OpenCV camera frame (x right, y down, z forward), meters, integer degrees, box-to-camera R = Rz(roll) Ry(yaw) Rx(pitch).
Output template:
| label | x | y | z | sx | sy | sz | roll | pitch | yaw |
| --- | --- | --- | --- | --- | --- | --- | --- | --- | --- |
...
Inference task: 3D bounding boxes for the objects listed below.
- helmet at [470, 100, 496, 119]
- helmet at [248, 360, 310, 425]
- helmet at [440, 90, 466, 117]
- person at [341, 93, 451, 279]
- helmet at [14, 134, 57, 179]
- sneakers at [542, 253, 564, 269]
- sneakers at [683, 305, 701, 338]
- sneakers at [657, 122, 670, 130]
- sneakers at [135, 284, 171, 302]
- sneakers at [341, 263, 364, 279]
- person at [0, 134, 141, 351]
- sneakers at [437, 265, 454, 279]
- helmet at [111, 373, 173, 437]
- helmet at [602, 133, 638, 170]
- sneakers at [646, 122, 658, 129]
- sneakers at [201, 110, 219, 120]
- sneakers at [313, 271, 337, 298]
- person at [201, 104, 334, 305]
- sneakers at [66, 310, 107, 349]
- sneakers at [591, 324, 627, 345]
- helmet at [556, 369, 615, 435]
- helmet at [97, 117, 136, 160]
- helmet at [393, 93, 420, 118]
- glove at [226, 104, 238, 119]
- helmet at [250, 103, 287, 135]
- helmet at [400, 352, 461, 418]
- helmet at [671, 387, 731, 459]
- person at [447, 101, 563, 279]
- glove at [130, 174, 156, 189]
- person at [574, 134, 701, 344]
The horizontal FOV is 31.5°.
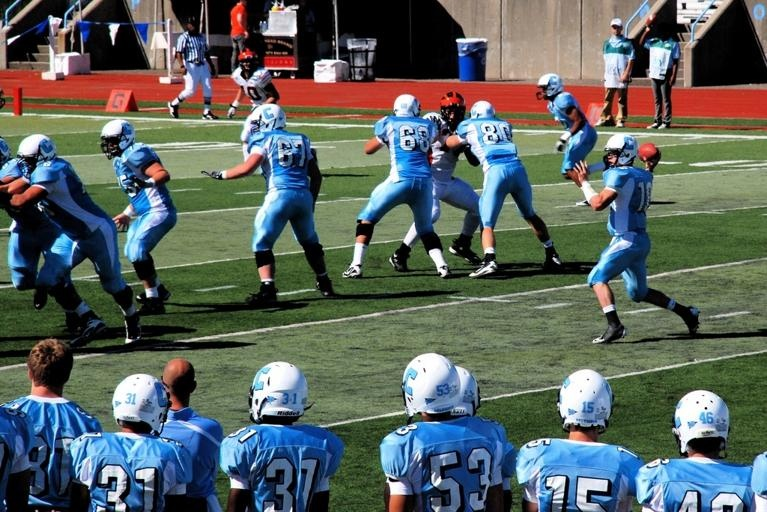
| label | x | y | z | sx | sy | sz | roll | pitch | yaw |
| --- | --- | --- | --- | --- | --- | --- | --- | --- | --- |
| helmet | 1.120 | -1.602 | 15.270 | 0.257 | 0.243 | 0.305 | 2 | 35 | 0 |
| helmet | -0.627 | 0.819 | 8.242 | 0.325 | 0.316 | 0.390 | 1 | 3 | -22 |
| helmet | 0.777 | -1.715 | 15.328 | 0.281 | 0.224 | 0.221 | -10 | 13 | 24 |
| person | 0.147 | -0.752 | 14.699 | 1.146 | 1.876 | 1.009 | 0 | 14 | 1 |
| helmet | -3.072 | -0.923 | 12.196 | 0.397 | 0.354 | 0.300 | -7 | 7 | -24 |
| sneakers | 1.853 | 0.049 | 14.834 | 0.106 | 0.109 | 0.270 | -2 | 2 | -8 |
| sneakers | 2.790 | 0.562 | 12.356 | 0.153 | 0.313 | 0.111 | -20 | 22 | 2 |
| sneakers | 5.490 | -2.525 | 26.499 | 0.093 | 0.104 | 0.285 | -1 | 0 | 36 |
| sneakers | -2.262 | 0.383 | 13.282 | 0.426 | 0.141 | 0.196 | -7 | 6 | 5 |
| sneakers | -0.336 | 0.144 | 14.545 | 0.212 | 0.171 | 0.268 | 0 | 13 | -1 |
| person | -2.752 | -0.145 | 12.142 | 1.133 | 1.815 | 0.759 | 0 | 14 | 0 |
| sneakers | 0.659 | 0.170 | 14.627 | 0.156 | 0.091 | 0.229 | 2 | 0 | 1 |
| helmet | -1.407 | 0.849 | 8.081 | 0.303 | 0.313 | 0.357 | 4 | 24 | -1 |
| helmet | 2.200 | -0.968 | 12.404 | 0.346 | 0.311 | 0.252 | 0 | 2 | -2 |
| sneakers | 5.223 | -2.551 | 26.502 | 0.295 | 0.107 | 0.105 | 1 | 5 | 7 |
| sneakers | -3.755 | -3.043 | 29.418 | 0.378 | 0.199 | 0.185 | -1 | 17 | 2 |
| sneakers | -0.539 | 0.266 | 13.803 | 0.344 | 0.223 | 0.120 | 2 | 20 | 19 |
| person | -1.039 | -0.540 | 13.652 | 0.981 | 1.878 | 0.946 | -4 | 14 | -15 |
| sneakers | -2.637 | 0.648 | 12.115 | 0.297 | 0.165 | 0.446 | -20 | -2 | 3 |
| sneakers | 2.039 | 0.677 | 12.236 | 0.293 | 0.186 | 0.264 | 2 | 14 | 8 |
| helmet | 1.208 | 0.890 | 8.108 | 0.302 | 0.307 | 0.358 | 3 | 52 | 7 |
| helmet | -2.552 | -1.130 | 12.975 | 0.446 | 0.391 | 0.345 | -12 | 10 | -18 |
| helmet | 0.243 | -1.626 | 14.852 | 0.259 | 0.245 | 0.328 | 4 | 19 | 11 |
| glove | -3.242 | -3.069 | 28.846 | 0.252 | 0.113 | 0.432 | 6 | -14 | -29 |
| helmet | -1.148 | -1.390 | 13.795 | 0.351 | 0.264 | 0.250 | 11 | 23 | 17 |
| helmet | 0.275 | 0.759 | 8.053 | 0.306 | 0.326 | 0.366 | -3 | 9 | -13 |
| helmet | 1.851 | 0.933 | 8.037 | 0.307 | 0.315 | 0.382 | -1 | 19 | 4 |
| person | 1.299 | -0.723 | 14.898 | 1.216 | 1.791 | 1.495 | 0 | 14 | 3 |
| glove | -2.277 | -0.688 | 12.821 | 0.142 | 0.057 | 0.192 | 23 | 6 | 29 |
| person | 2.281 | -0.183 | 12.384 | 1.024 | 1.790 | 1.008 | 1 | 14 | 5 |
